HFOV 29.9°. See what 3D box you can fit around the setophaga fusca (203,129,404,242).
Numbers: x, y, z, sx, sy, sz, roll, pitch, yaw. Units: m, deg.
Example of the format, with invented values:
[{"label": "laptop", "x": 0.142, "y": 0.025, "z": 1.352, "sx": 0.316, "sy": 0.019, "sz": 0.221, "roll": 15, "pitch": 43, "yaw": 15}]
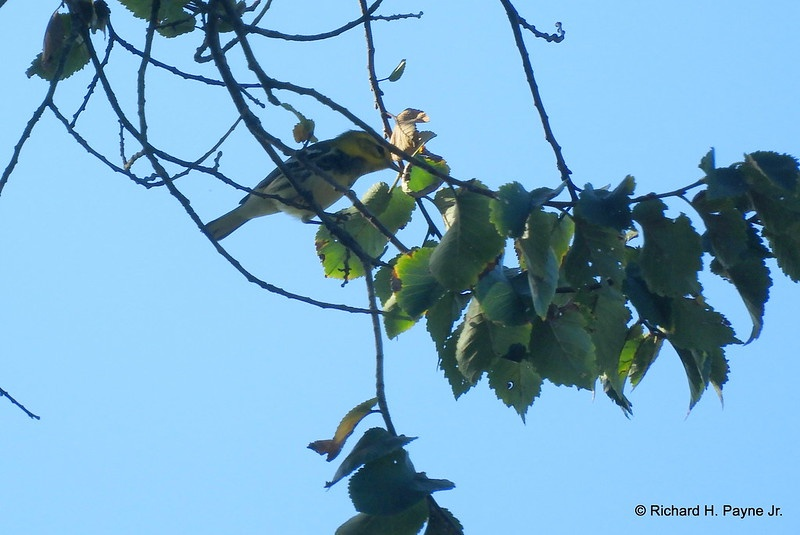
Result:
[{"label": "setophaga fusca", "x": -0.560, "y": -0.479, "z": 8.425, "sx": 1.166, "sy": 0.532, "sz": 0.406, "roll": -9, "pitch": -40, "yaw": 23}]
